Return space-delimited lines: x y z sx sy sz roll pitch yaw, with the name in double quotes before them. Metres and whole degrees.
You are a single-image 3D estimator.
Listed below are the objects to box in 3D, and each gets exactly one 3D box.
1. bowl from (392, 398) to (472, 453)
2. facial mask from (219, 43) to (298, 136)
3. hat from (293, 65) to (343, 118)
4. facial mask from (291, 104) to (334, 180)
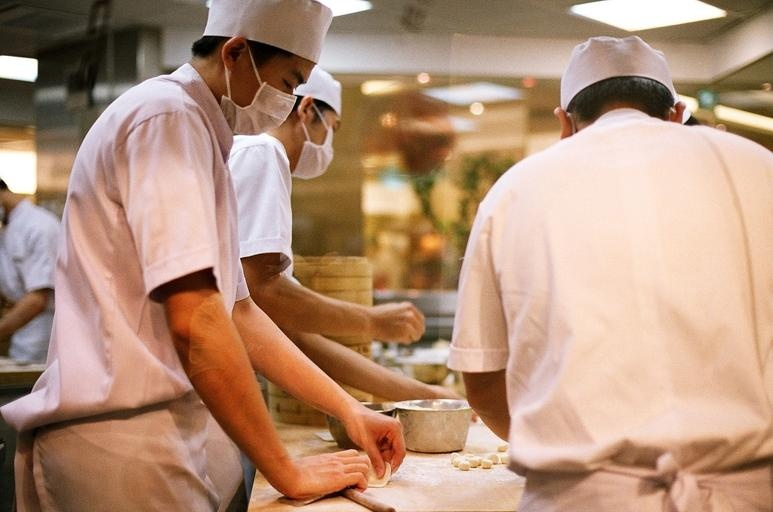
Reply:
"bowl" 0.154 0.547 3.033 0.312 0.139 0.309 -1 -1 0
"facial mask" -0.370 -0.466 2.730 0.188 0.231 0.209 7 2 -21
"hat" -0.232 -0.621 3.518 0.144 0.186 0.155 9 8 -34
"facial mask" -0.242 -0.419 3.480 0.147 0.231 0.195 4 -2 -24
